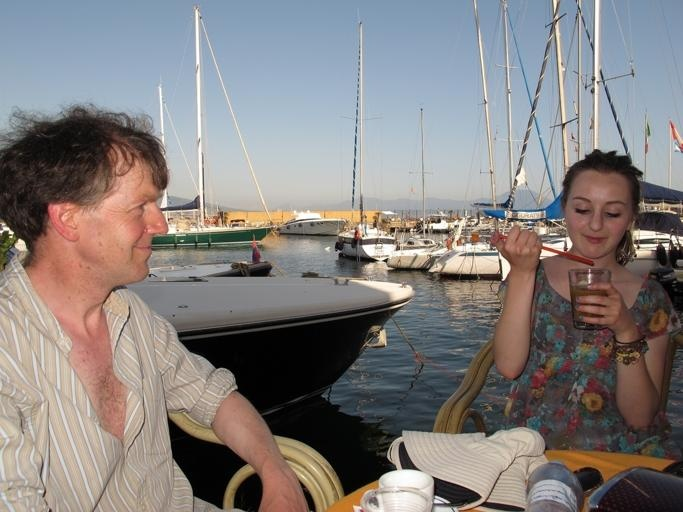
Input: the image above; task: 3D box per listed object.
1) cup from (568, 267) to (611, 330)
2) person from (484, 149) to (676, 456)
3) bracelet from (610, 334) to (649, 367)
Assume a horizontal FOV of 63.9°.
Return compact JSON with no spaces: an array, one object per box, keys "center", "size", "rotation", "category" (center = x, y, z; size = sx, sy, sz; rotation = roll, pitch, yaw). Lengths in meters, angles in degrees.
[{"center":[1.063,0.192,2.353],"size":[0.149,0.285,0.219],"rotation":[0,4,19],"category":"cup"},{"center":[1.163,0.204,2.588],"size":[0.850,1.440,0.738],"rotation":[0,3,16],"category":"person"},{"center":[1.227,0.398,2.320],"size":[0.115,0.127,0.076],"rotation":[-10,-34,21],"category":"bracelet"}]
